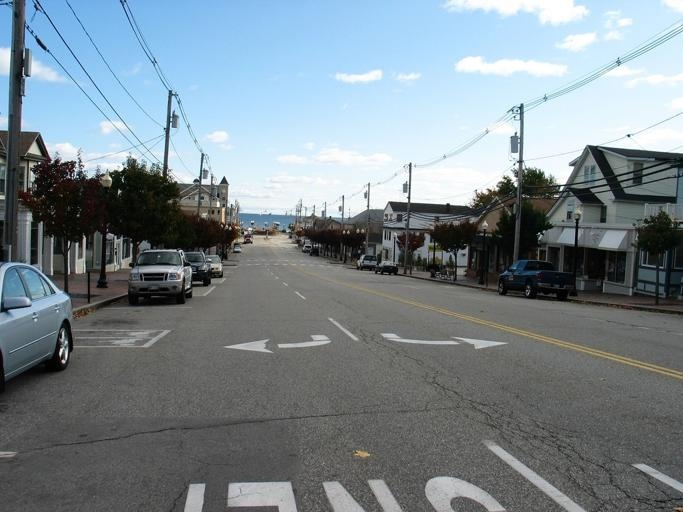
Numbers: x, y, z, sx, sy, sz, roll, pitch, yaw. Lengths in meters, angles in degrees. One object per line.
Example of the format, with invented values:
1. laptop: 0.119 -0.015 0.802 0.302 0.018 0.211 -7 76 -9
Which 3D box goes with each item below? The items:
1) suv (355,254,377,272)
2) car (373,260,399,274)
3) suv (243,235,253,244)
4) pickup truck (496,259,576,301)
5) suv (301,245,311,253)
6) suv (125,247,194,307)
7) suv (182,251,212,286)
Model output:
1. suv: 3.288 0.810 70.304 2.185 1.816 3.204 0 1 -1
2. car: 4.995 1.225 60.522 1.402 1.406 3.016 0 1 -27
3. suv: -30.735 -5.558 179.376 3.178 2.726 5.676 0 1 -7
4. pickup truck: 12.165 1.362 31.944 4.413 2.290 5.321 0 1 -14
5. suv: -8.694 -1.822 135.585 1.513 1.444 2.755 1 9 -4
6. suv: -7.248 0.797 22.027 2.053 2.119 2.370 1 1 0
7. suv: -9.208 0.748 34.452 1.626 1.823 3.815 0 -4 -2
